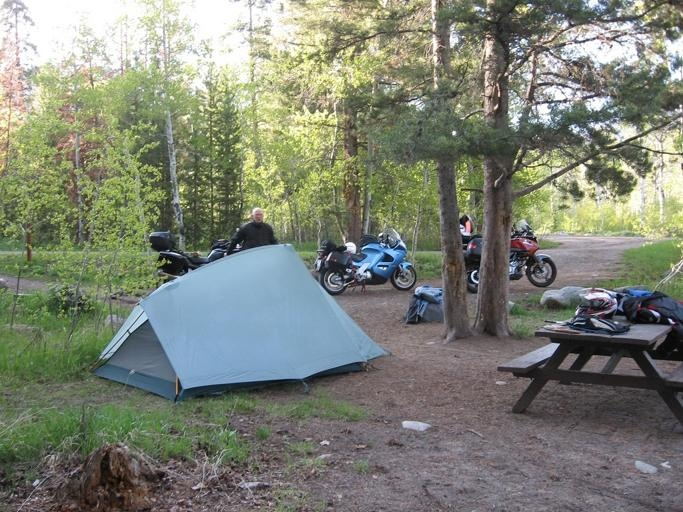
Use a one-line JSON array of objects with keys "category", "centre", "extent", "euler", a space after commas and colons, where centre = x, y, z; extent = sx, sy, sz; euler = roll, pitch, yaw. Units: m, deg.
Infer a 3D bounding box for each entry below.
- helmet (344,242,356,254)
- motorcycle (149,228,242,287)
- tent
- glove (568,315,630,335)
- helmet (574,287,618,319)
[{"category": "helmet", "centre": [0.228, -0.205, 15.996], "extent": [0.227, 0.311, 0.296], "euler": [-12, -2, -1]}, {"category": "motorcycle", "centre": [-3.257, 0.008, 14.412], "extent": [2.017, 1.265, 1.072], "euler": [-10, 12, -37]}, {"category": "tent", "centre": [-1.187, 0.878, 8.949], "extent": [2.601, 1.228, 2.174], "euler": [-9, 9, -43]}, {"category": "glove", "centre": [3.013, 0.825, 7.669], "extent": [0.416, 0.135, 0.314], "euler": [7, -4, 23]}, {"category": "helmet", "centre": [3.188, 0.581, 8.246], "extent": [0.484, 0.428, 0.368], "euler": [11, 0, 31]}]
